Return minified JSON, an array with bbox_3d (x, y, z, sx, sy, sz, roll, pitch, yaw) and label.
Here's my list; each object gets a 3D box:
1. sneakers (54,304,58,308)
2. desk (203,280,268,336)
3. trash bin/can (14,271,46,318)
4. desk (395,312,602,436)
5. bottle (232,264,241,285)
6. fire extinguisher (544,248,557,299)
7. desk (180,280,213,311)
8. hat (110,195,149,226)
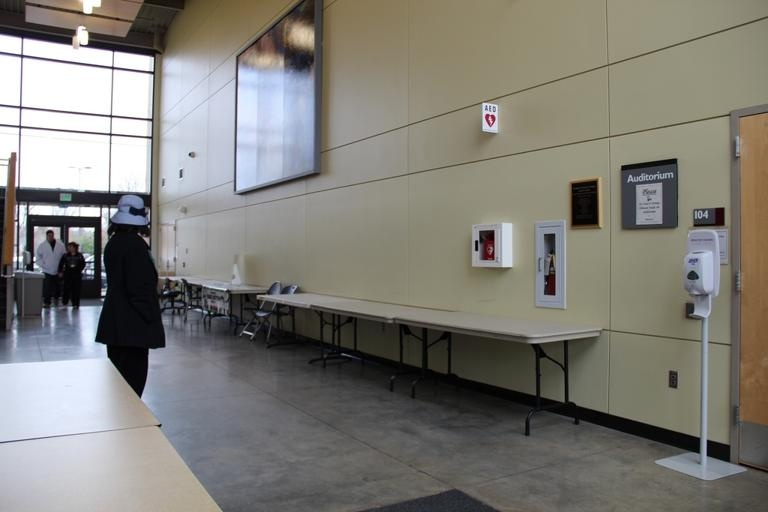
[{"bbox_3d":[-8.366,1.253,13.531,0.098,0.108,0.110,-2,-2,37],"label":"sneakers"},{"bbox_3d":[-3.148,1.068,10.923,0.730,0.849,2.344,2,-1,-33],"label":"desk"},{"bbox_3d":[-7.913,0.836,11.778,0.562,0.979,0.691,-2,4,-25],"label":"trash bin/can"},{"bbox_3d":[1.105,1.239,5.874,0.836,0.949,2.528,0,-4,-25],"label":"desk"},{"bbox_3d":[-3.025,0.362,10.884,0.177,0.443,0.754,-1,4,-15],"label":"bottle"},{"bbox_3d":[1.717,0.178,5.493,0.124,0.460,0.059,2,4,32],"label":"fire extinguisher"},{"bbox_3d":[-4.335,0.906,12.294,0.520,0.722,0.814,-2,4,-34],"label":"desk"},{"bbox_3d":[-2.114,-0.351,4.403,0.275,0.182,0.267,3,8,-27],"label":"hat"}]
